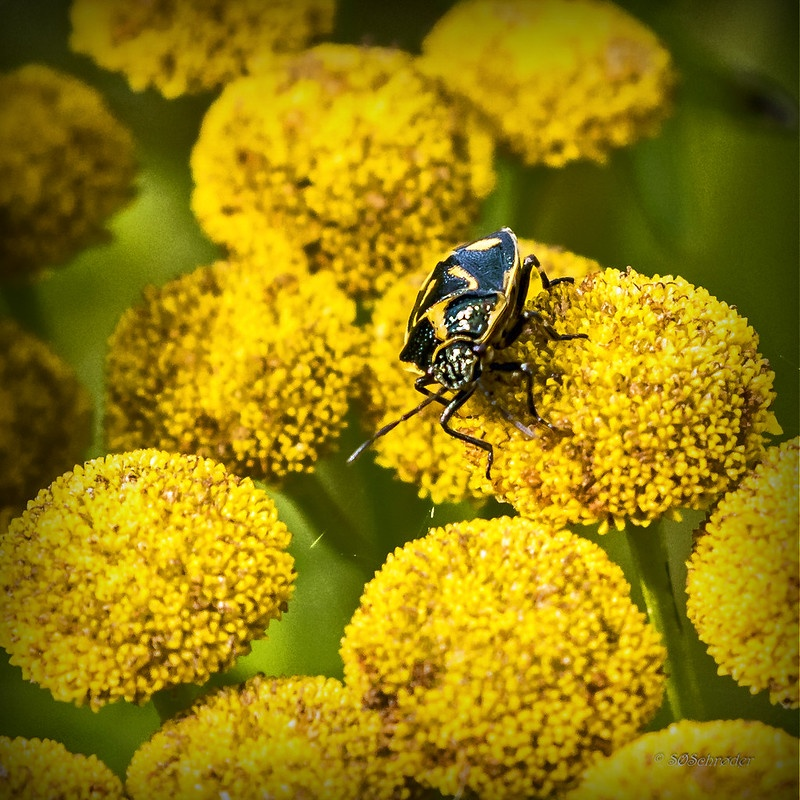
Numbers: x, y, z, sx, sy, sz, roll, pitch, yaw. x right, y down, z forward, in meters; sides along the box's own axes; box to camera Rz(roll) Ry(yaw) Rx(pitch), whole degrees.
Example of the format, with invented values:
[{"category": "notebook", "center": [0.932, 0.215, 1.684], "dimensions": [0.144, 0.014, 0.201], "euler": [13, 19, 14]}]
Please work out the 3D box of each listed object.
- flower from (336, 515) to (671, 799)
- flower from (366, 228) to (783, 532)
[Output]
[{"category": "flower", "center": [0.172, 0.447, 1.755], "dimensions": [0.515, 0.169, 0.469], "euler": [-25, 63, -7]}, {"category": "flower", "center": [0.331, -0.017, 1.801], "dimensions": [0.689, 0.176, 0.476], "euler": [12, 64, 12]}]
